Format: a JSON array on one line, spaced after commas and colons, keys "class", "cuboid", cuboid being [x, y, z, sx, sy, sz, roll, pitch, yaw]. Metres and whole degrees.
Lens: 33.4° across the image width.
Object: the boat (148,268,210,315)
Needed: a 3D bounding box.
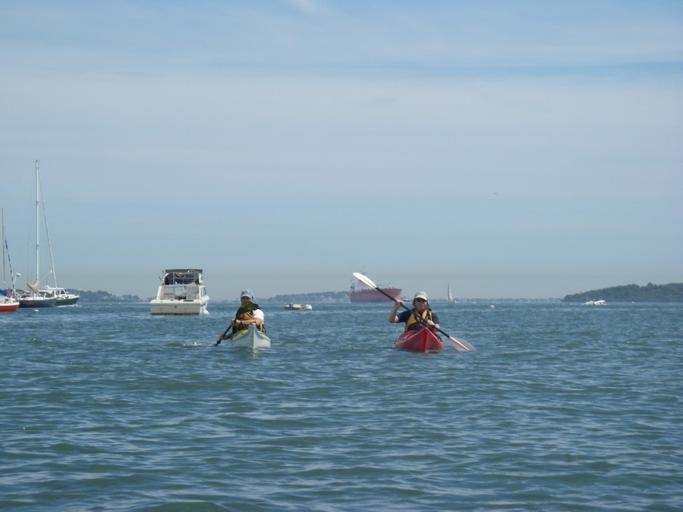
[{"class": "boat", "cuboid": [-11.579, 2.062, 83.737, 3.789, 2.432, 8.335, 0, 13, 2]}]
